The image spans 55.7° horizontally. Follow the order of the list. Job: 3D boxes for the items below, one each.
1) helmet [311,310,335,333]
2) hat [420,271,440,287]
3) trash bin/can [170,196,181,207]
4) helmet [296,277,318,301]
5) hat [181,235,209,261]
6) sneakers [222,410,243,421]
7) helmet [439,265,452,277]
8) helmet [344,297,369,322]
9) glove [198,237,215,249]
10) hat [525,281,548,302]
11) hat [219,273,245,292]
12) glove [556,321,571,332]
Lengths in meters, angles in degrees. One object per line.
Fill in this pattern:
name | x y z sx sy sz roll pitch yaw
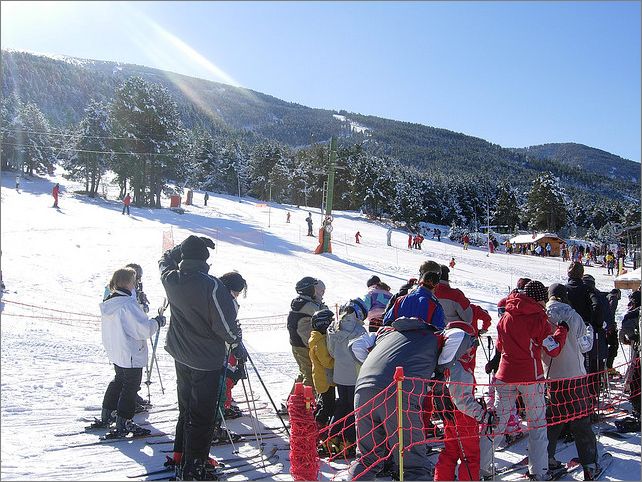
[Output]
helmet | 0.013 1.247 9.620 0.339 0.340 0.277 -23 14 -21
hat | 1.520 0.543 8.426 0.172 0.250 0.245 3 -19 6
trash bin/can | -10.689 -2.870 44.160 0.780 1.169 0.597 1 -6 -17
helmet | -0.237 0.804 10.089 0.371 0.352 0.286 -5 5 -13
hat | -1.807 0.160 8.626 0.286 0.399 0.416 -5 26 -7
sneakers | -1.527 2.962 10.260 0.308 0.160 0.128 -3 4 -9
helmet | 2.055 0.507 10.036 0.190 0.232 0.230 -3 -12 13
helmet | 0.567 1.067 9.541 0.353 0.353 0.290 23 -32 10
glove | -1.701 0.055 8.939 0.075 0.255 0.176 -15 14 26
hat | 3.110 0.731 8.787 0.236 0.334 0.314 -7 4 16
hat | -1.341 0.671 9.146 0.321 0.188 0.259 8 28 -38
glove | 3.529 1.245 8.803 0.127 0.101 0.134 15 -6 -2
